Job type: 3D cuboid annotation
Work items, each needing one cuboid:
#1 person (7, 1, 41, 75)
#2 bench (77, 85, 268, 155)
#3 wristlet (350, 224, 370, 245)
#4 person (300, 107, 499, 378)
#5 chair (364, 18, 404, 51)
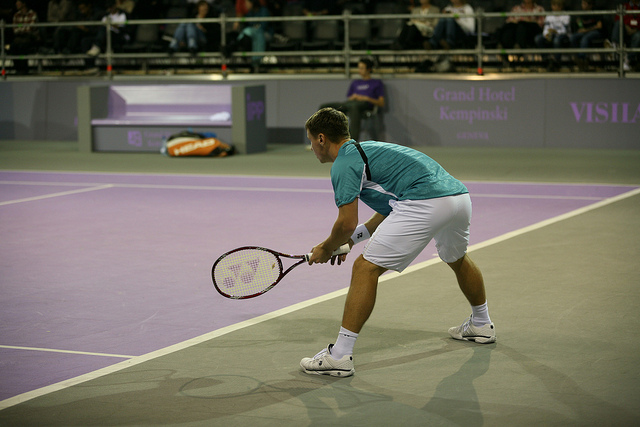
[{"bbox_3d":[-10.323,-6.162,22.264,1.016,2.702,1.567,-2,6,-25],"label":"person"},{"bbox_3d":[-4.173,-2.779,18.927,5.369,1.935,1.743,3,12,18],"label":"bench"},{"bbox_3d":[0.382,0.195,6.088,0.153,0.188,0.158,-24,37,-24],"label":"wristlet"},{"bbox_3d":[0.656,0.235,5.501,1.649,2.224,0.476,-1,6,-18],"label":"person"},{"bbox_3d":[1.755,-5.561,20.067,1.157,1.100,1.234,0,13,14],"label":"chair"}]
